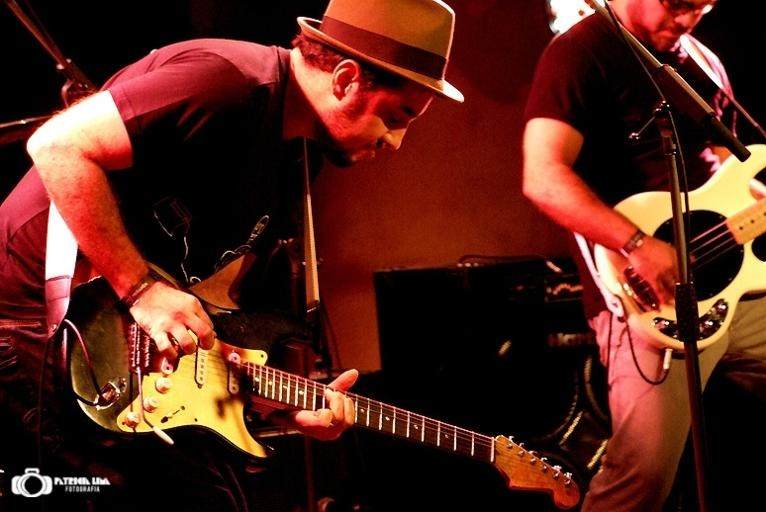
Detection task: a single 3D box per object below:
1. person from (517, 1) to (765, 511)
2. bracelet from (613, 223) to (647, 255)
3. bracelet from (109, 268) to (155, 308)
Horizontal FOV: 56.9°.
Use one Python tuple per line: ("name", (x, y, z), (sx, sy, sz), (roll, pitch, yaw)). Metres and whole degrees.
("person", (1.200, -0.053, 3.258), (1.067, 2.037, 1.285), (-3, 25, -6))
("bracelet", (1.083, -0.073, 3.113), (0.029, 0.102, 0.111), (44, 48, 0))
("bracelet", (-0.844, 0.113, 2.472), (0.138, 0.103, 0.058), (-24, 34, -39))
